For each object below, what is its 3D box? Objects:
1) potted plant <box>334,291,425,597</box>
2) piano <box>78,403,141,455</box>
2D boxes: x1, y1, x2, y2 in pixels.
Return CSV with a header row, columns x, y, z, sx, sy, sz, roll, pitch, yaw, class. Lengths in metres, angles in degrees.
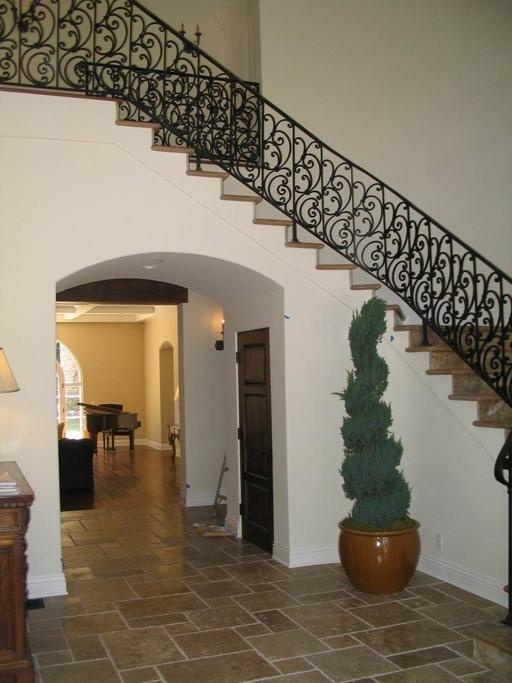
x,y,z,sx,sy,sz,roll,pitch,yaw,class
0.875,0.758,4.523,0.527,2.129,0.624,-3,5,-26,potted plant
-3.343,2.003,14.259,1.436,1.233,1.054,-2,2,-7,piano
